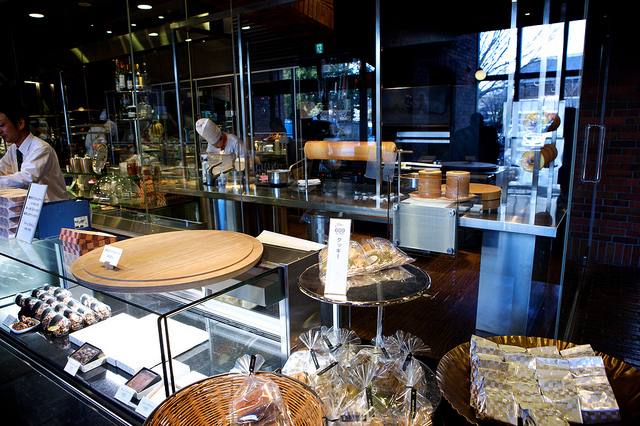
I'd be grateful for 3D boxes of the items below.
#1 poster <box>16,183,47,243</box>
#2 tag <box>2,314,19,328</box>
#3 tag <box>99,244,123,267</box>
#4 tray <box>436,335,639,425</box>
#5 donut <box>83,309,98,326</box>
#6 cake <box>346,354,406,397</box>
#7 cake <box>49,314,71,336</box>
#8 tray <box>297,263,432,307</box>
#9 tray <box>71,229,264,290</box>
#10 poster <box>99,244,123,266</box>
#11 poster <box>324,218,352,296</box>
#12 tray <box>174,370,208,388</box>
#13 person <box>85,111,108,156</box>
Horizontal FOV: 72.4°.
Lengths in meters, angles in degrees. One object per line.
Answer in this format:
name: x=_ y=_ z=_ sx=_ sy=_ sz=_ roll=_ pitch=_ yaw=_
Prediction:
poster: x=-1.628 y=-0.006 z=2.462 sx=0.188 sy=0.291 sz=0.150 roll=8 pitch=16 yaw=38
tag: x=-1.642 y=0.568 z=2.313 sx=0.061 sy=0.014 sz=0.056 roll=19 pitch=23 yaw=40
tag: x=-0.920 y=0.183 z=1.919 sx=0.091 sy=0.085 sz=0.024 roll=12 pitch=-1 yaw=24
tray: x=0.833 y=0.651 z=1.721 sx=0.453 sy=0.068 sz=0.432 roll=4 pitch=21 yaw=10
donut: x=-1.162 y=0.524 z=2.199 sx=0.070 sy=0.071 sz=0.045 roll=2 pitch=13 yaw=17
cake: x=0.213 y=0.672 z=1.788 sx=0.272 sy=0.099 sz=0.292 roll=1 pitch=-3 yaw=21
cake: x=-1.298 y=0.561 z=2.182 sx=0.122 sy=0.093 sz=0.051 roll=1 pitch=13 yaw=13
tray: x=0.182 y=0.300 z=1.809 sx=0.535 sy=0.076 sz=0.224 roll=-2 pitch=12 yaw=-1
tray: x=-0.627 y=0.201 z=1.986 sx=0.401 sy=0.028 sz=0.401 roll=5 pitch=17 yaw=22
poster: x=-0.918 y=0.185 z=1.918 sx=0.090 sy=0.084 sz=0.022 roll=18 pitch=-2 yaw=21
poster: x=0.081 y=0.179 z=1.825 sx=0.108 sy=0.305 sz=0.033 roll=1 pitch=-6 yaw=36
tray: x=-0.552 y=0.704 z=1.850 sx=0.087 sy=0.021 sz=0.095 roll=13 pitch=20 yaw=39
person: x=-3.003 y=-1.051 z=5.838 sx=0.205 sy=0.566 sz=0.935 roll=-11 pitch=15 yaw=-35
